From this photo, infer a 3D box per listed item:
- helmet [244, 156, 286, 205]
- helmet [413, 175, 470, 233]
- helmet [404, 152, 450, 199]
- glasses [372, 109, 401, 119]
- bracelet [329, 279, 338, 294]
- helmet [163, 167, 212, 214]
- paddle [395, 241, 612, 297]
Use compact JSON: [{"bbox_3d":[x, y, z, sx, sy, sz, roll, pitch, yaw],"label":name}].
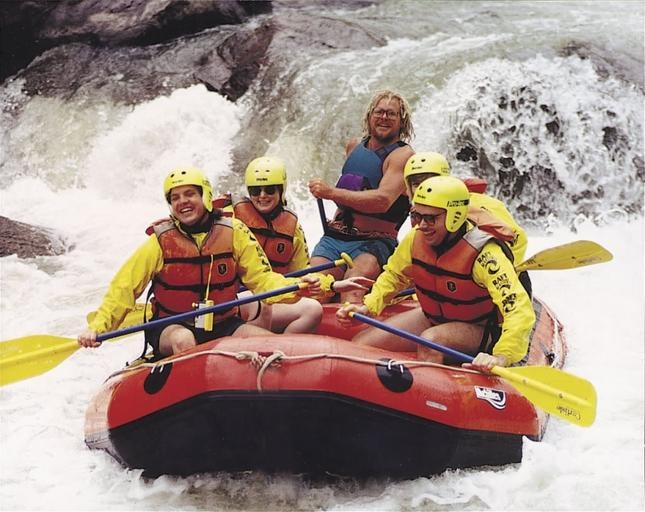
[{"bbox_3d":[-0.484,-0.701,6.806,0.272,0.299,0.343,-1,20,2],"label":"helmet"},{"bbox_3d":[0.950,-0.412,6.129,0.469,0.372,0.335,4,6,-17],"label":"helmet"},{"bbox_3d":[0.879,-0.711,6.659,0.317,0.389,0.426,-5,-3,42],"label":"helmet"},{"bbox_3d":[0.589,-1.298,7.146,0.232,0.070,0.057,1,36,-1],"label":"glasses"},{"bbox_3d":[0.098,0.252,6.293,0.067,0.067,0.031,-6,-14,37],"label":"bracelet"},{"bbox_3d":[-1.059,-0.517,6.106,0.289,0.326,0.378,-3,11,22],"label":"helmet"},{"bbox_3d":[1.590,0.128,6.880,1.392,0.384,0.081,-19,40,18],"label":"paddle"}]
